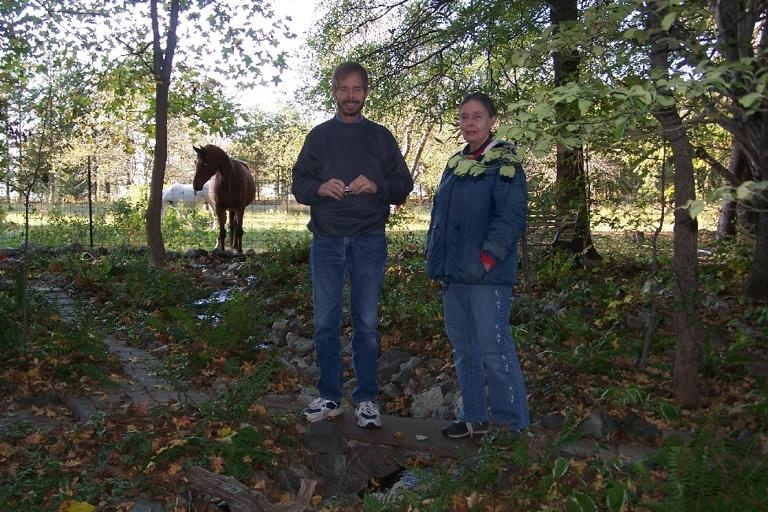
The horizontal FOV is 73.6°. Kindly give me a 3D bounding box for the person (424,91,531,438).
[{"bbox_3d":[0.819,0.132,4.517,0.880,3.147,0.492,0,3,16],"label":"person"}]

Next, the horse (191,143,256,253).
[{"bbox_3d":[-4.258,-1.597,13.465,1.067,2.436,3.508,-1,3,-5],"label":"horse"}]

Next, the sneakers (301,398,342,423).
[{"bbox_3d":[-0.598,1.469,5.007,0.379,0.214,0.177,-2,9,-20],"label":"sneakers"}]
